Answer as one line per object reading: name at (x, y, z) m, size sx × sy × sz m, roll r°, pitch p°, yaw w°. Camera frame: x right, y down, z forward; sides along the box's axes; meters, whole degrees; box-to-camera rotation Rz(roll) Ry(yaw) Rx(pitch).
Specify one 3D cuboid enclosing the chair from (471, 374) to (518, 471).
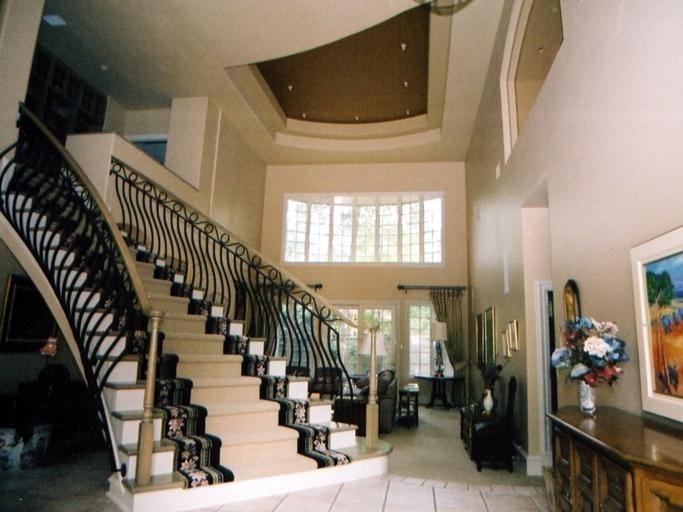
chair at (2.038, 2.166, 6.549) m, size 0.545 × 1.148 × 0.650 m, roll 1°, pitch -6°, yaw 10°

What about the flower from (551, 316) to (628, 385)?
flower at (2.084, 0.681, 4.123) m, size 0.558 × 0.624 × 0.570 m, roll 0°, pitch -2°, yaw -24°

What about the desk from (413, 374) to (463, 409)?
desk at (2.312, 3.052, 11.106) m, size 0.870 × 0.551 × 0.884 m, roll -1°, pitch -16°, yaw 6°

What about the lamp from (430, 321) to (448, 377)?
lamp at (2.282, 2.066, 11.301) m, size 0.370 × 1.299 × 0.812 m, roll -4°, pitch -12°, yaw 10°

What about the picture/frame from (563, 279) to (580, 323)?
picture/frame at (2.351, 0.438, 4.967) m, size 0.060 × 0.466 × 0.099 m, roll -4°, pitch -12°, yaw 36°

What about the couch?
couch at (0.403, 2.329, 7.750) m, size 0.819 × 0.933 × 1.619 m, roll -5°, pitch -13°, yaw 12°

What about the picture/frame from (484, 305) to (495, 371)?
picture/frame at (2.622, 1.488, 8.679) m, size 0.044 × 1.100 × 0.903 m, roll -3°, pitch -8°, yaw 27°
